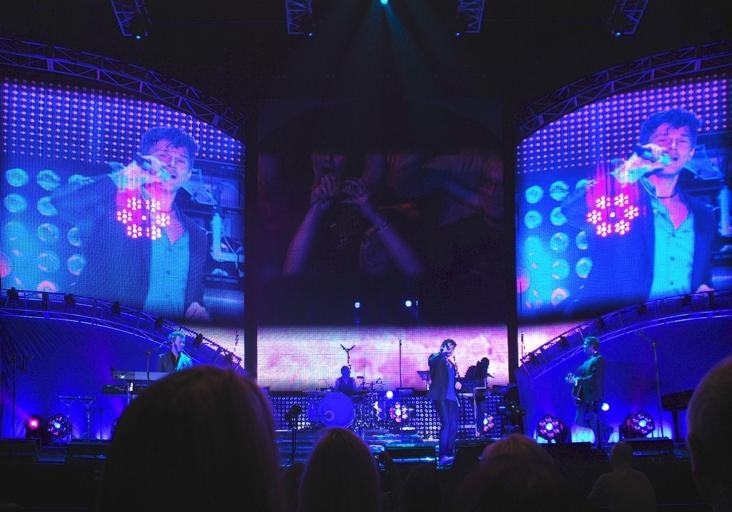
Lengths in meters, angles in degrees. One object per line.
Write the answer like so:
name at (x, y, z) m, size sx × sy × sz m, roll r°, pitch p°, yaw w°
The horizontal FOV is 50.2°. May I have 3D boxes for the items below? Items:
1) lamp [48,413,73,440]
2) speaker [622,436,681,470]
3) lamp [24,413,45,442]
lamp at (-6.207, 3.504, 15.910) m, size 0.403 × 0.511 × 0.207 m, roll 7°, pitch -41°, yaw -21°
speaker at (4.706, 3.269, 12.931) m, size 0.652 × 0.251 × 0.579 m, roll -4°, pitch 16°, yaw 6°
lamp at (-6.609, 3.467, 15.714) m, size 0.440 × 0.556 × 0.296 m, roll 3°, pitch -18°, yaw -14°
